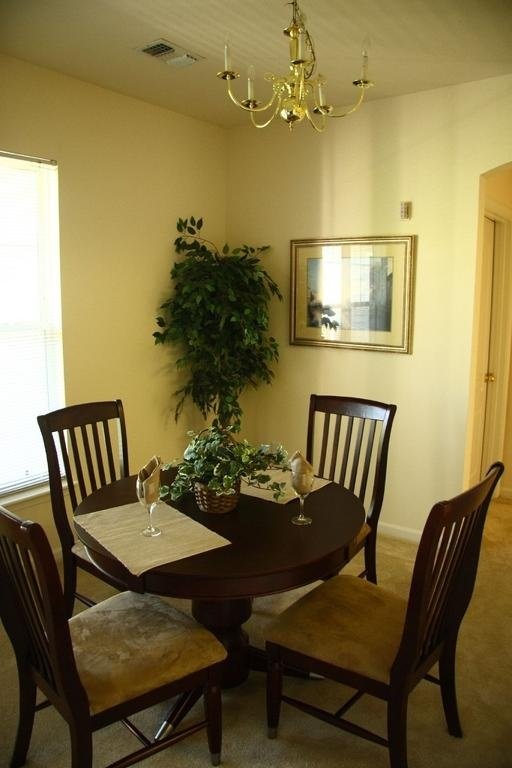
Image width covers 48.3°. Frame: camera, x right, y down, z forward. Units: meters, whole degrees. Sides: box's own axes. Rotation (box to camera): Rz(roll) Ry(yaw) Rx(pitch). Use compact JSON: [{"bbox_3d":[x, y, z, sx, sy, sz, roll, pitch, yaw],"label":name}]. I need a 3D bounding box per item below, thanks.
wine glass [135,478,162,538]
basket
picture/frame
[{"bbox_3d":[-0.312,0.320,1.669,0.057,0.181,0.286,-2,9,-11],"label":"wine glass"},{"bbox_3d":[-0.091,0.278,1.790,0.194,0.157,0.202,10,18,32],"label":"basket"},{"bbox_3d":[0.583,-0.549,3.340,0.656,0.602,0.028,8,14,38],"label":"picture/frame"}]
